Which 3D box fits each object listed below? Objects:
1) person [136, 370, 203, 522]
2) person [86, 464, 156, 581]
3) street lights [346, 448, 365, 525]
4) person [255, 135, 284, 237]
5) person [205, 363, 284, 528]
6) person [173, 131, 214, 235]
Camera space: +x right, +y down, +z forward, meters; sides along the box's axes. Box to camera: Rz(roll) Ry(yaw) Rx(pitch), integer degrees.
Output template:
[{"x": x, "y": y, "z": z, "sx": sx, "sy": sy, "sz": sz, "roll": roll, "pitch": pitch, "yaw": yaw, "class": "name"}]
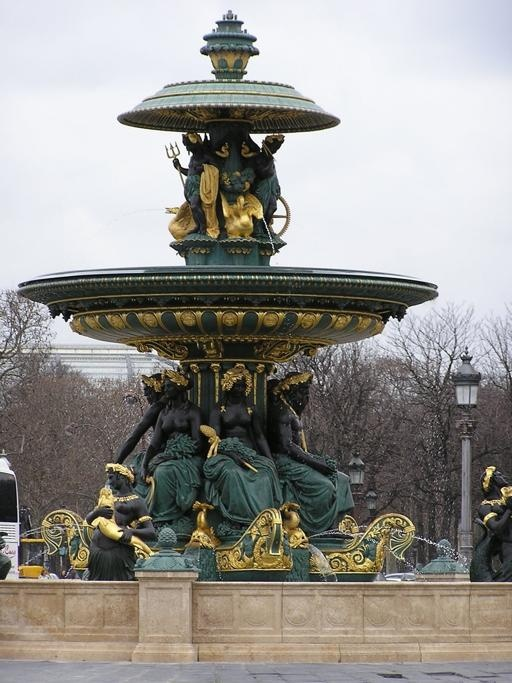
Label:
[{"x": -0.926, "y": 1.180, "z": 24.802, "sx": 0.749, "sy": 1.806, "sz": 0.628, "roll": -8, "pitch": -10, "yaw": 39, "class": "person"}, {"x": -1.345, "y": 1.794, "z": 22.284, "sx": 0.696, "sy": 1.223, "sz": 0.659, "roll": -2, "pitch": -8, "yaw": 1, "class": "person"}, {"x": 1.569, "y": 2.360, "z": 34.633, "sx": 0.271, "sy": 1.314, "sz": 0.250, "roll": -1, "pitch": -6, "yaw": 3, "class": "street lights"}, {"x": 0.163, "y": -1.995, "z": 25.546, "sx": 0.348, "sy": 1.183, "sz": 0.573, "roll": -1, "pitch": -8, "yaw": -5, "class": "person"}, {"x": -0.149, "y": 1.151, "z": 24.676, "sx": 0.678, "sy": 1.915, "sz": 0.810, "roll": -9, "pitch": -10, "yaw": 42, "class": "person"}, {"x": -0.687, "y": -1.895, "z": 25.553, "sx": 0.373, "sy": 1.174, "sz": 0.954, "roll": -2, "pitch": -8, "yaw": -2, "class": "person"}]
